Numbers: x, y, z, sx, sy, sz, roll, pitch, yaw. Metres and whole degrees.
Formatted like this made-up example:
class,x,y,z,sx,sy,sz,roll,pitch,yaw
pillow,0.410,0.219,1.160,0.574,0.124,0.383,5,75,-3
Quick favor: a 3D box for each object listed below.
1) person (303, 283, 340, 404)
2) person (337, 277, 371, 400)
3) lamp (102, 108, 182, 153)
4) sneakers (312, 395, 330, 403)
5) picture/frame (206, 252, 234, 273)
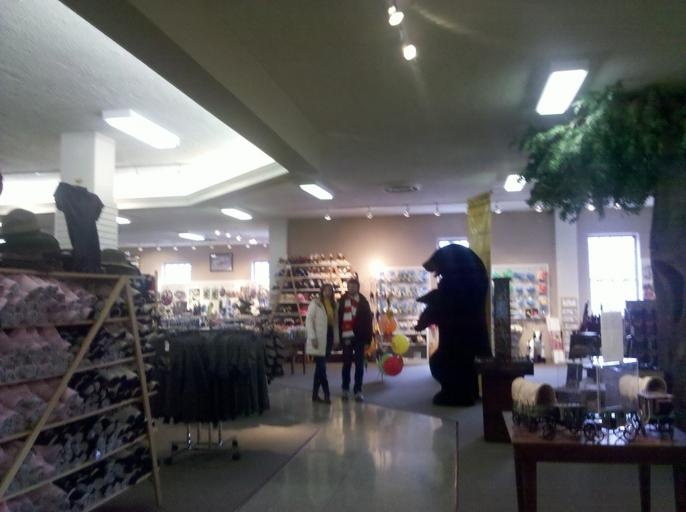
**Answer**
class,x,y,z,sx,sy,sz,roll,pitch,yaw
person,-0.301,1.348,7.240,0.403,1.805,0.693,-1,-3,12
person,0.195,1.299,7.319,0.517,1.846,0.379,-1,-3,1
lamp,-2.453,-1.563,5.785,0.447,0.141,1.163,-1,-3,10
sneakers,-0.318,2.204,7.192,0.350,0.161,0.112,-15,-16,35
picture/frame,-4.284,0.272,16.559,0.654,0.625,0.091,0,-6,-1
